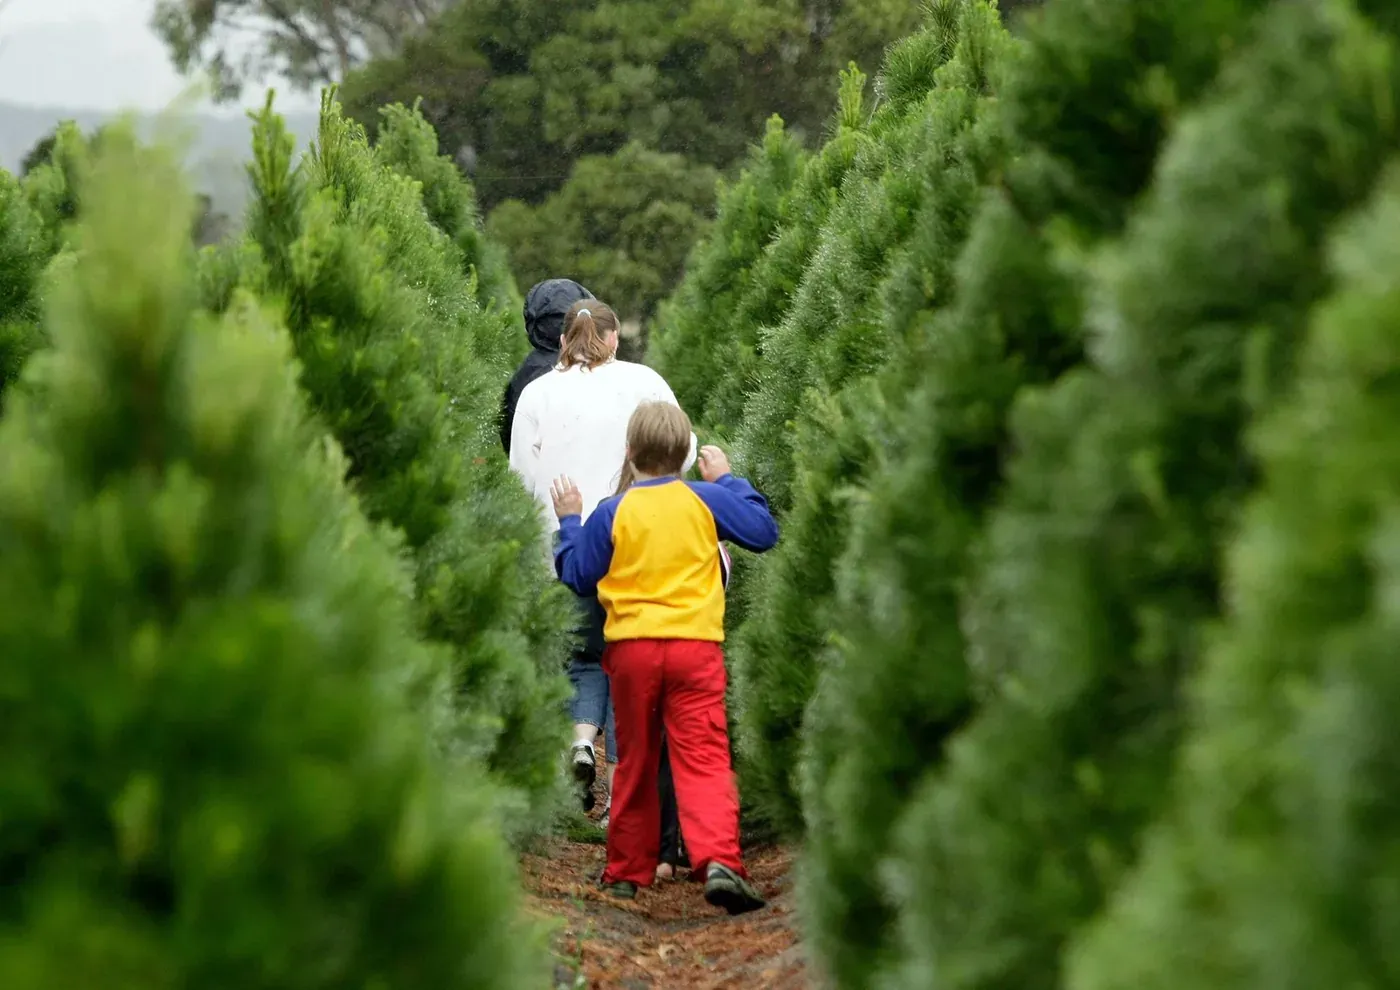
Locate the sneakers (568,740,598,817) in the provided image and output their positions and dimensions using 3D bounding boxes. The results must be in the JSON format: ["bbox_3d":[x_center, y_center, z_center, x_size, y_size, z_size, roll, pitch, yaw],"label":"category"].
[{"bbox_3d":[-0.335,0.837,6.149,0.062,0.261,0.103,-2,21,-6],"label":"sneakers"}]

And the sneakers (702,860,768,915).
[{"bbox_3d":[0.084,0.998,5.383,0.139,0.114,0.270,10,-3,13],"label":"sneakers"}]
